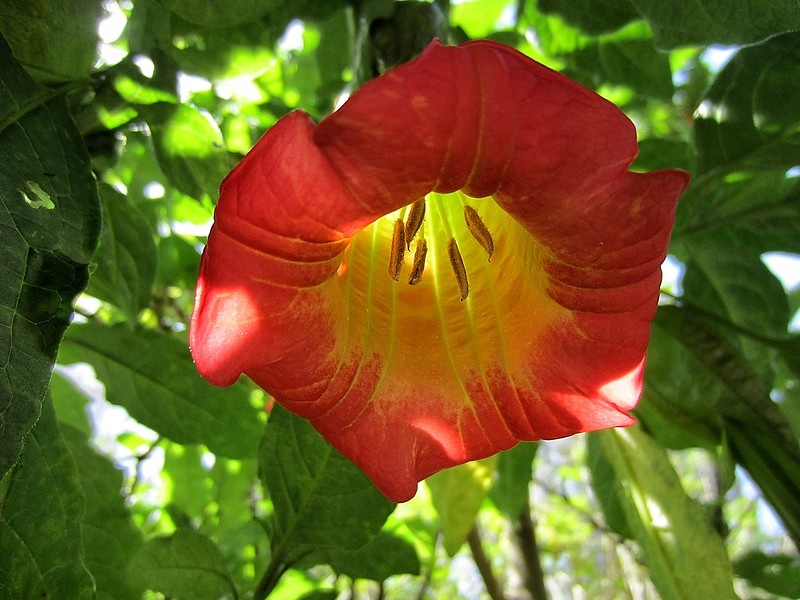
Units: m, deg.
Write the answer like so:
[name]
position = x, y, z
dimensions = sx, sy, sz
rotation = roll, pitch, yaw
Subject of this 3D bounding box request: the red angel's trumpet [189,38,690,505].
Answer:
[red angel's trumpet]
position = 0.065, -0.124, 1.304
dimensions = 0.687, 0.593, 0.642
rotation = 12, -51, -11
